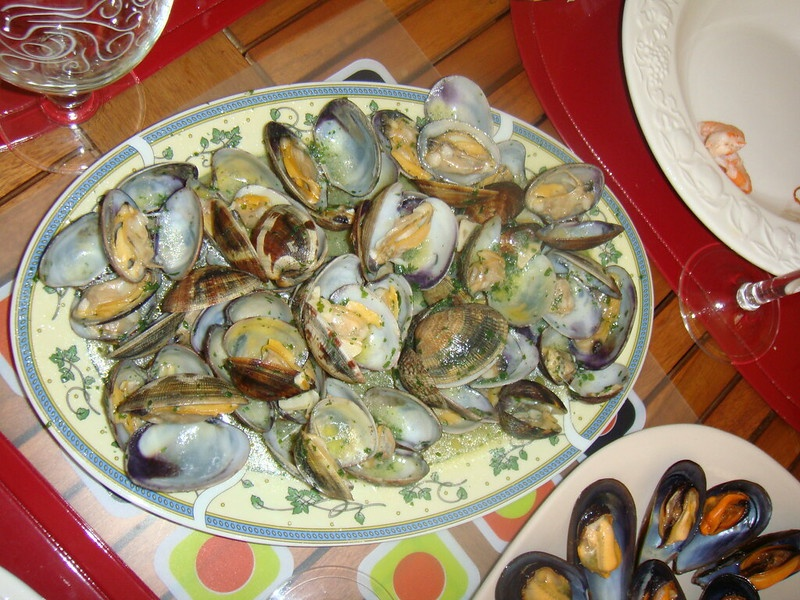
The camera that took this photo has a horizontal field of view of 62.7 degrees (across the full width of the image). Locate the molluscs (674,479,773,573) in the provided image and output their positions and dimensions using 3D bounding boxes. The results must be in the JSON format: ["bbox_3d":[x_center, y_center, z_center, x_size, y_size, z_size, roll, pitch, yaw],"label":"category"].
[{"bbox_3d":[1.069,0.768,2.216,0.359,0.220,0.132,-33,-83,11],"label":"molluscs"}]

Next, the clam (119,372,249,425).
[{"bbox_3d":[-0.595,0.276,1.812,0.362,0.215,0.133,-3,-91,-29],"label":"clam"}]

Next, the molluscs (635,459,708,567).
[{"bbox_3d":[0.894,0.682,2.230,0.160,0.145,0.410,23,-88,2],"label":"molluscs"}]
